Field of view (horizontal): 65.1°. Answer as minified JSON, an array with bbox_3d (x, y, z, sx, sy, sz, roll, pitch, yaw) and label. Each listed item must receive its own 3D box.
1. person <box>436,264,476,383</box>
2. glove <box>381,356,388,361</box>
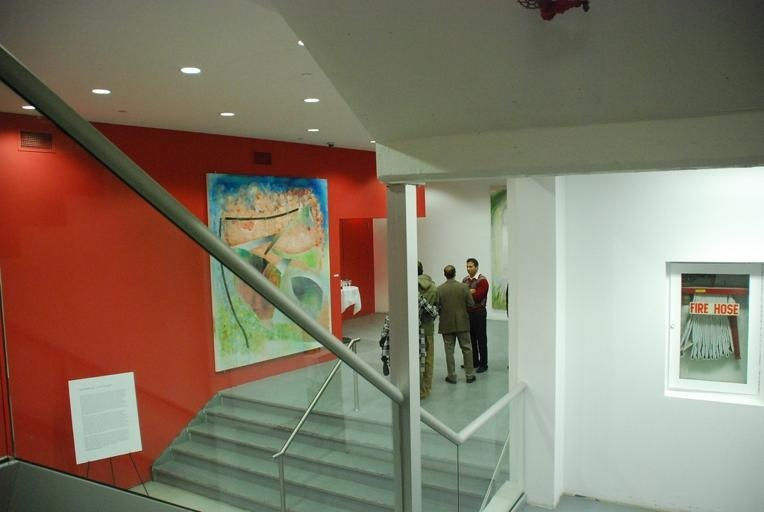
[{"bbox_3d":[0.745,0.717,6.125,0.382,1.231,0.362,1,1,9],"label":"person"},{"bbox_3d":[0.016,0.853,4.988,0.043,0.046,0.053,-4,-5,30],"label":"glove"}]
